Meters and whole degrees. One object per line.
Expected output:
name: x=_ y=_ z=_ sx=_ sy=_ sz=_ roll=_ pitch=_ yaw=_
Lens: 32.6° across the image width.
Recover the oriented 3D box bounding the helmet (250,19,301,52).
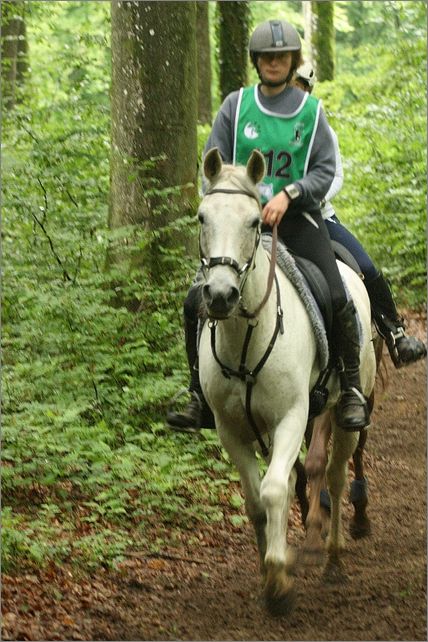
helmet: x=0.400 y=-1.849 z=4.691 sx=0.333 sy=0.249 sz=0.223 roll=8 pitch=8 yaw=0

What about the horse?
horse: x=0.535 y=0.501 z=4.888 sx=0.886 sy=2.506 sz=3.339 roll=-4 pitch=-12 yaw=19
